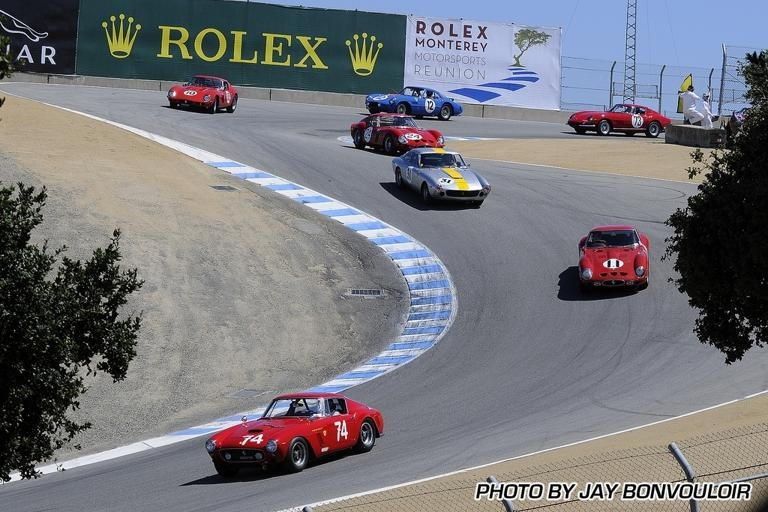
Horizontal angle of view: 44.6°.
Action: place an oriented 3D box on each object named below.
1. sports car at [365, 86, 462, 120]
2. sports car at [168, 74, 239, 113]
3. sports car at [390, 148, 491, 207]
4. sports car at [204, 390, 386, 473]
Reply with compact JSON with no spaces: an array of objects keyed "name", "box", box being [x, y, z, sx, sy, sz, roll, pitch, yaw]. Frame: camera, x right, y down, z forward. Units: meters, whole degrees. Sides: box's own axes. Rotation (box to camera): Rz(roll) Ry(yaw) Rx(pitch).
[{"name":"sports car","box":[1.303,-7.101,43.541,5.165,1.437,2.692,-1,6,-39]},{"name":"sports car","box":[-7.479,-6.789,39.286,1.725,1.438,3.894,0,4,5]},{"name":"sports car","box":[1.837,-2.840,31.623,2.272,1.313,4.434,-3,18,-20]},{"name":"sports car","box":[-1.646,3.252,17.076,3.036,1.331,1.313,-6,14,-37]}]
